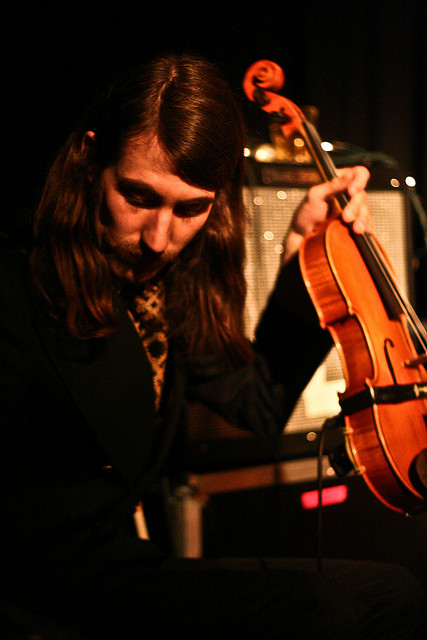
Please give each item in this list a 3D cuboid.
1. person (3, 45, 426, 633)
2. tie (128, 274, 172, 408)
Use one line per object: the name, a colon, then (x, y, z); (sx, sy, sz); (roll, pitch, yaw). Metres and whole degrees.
person: (-0.051, 0.077, 1.228); (0.762, 1.101, 0.487); (-6, 11, -25)
tie: (-0.109, 0.034, 1.324); (0.060, 0.232, 0.127); (-16, -31, 28)
